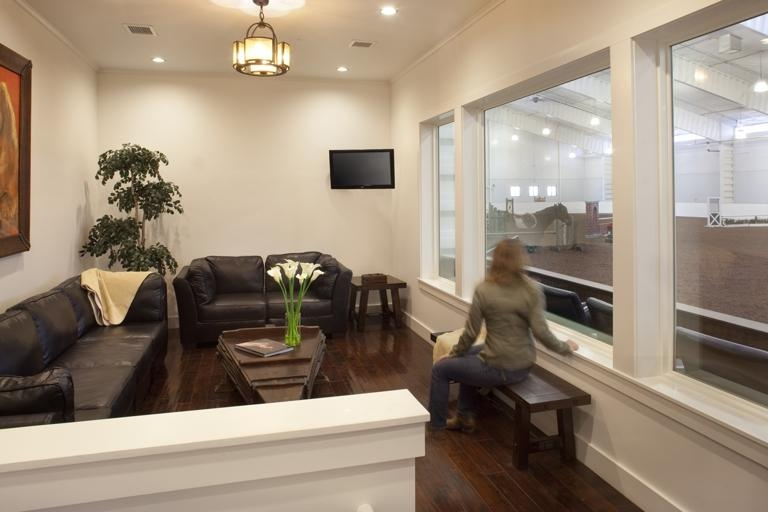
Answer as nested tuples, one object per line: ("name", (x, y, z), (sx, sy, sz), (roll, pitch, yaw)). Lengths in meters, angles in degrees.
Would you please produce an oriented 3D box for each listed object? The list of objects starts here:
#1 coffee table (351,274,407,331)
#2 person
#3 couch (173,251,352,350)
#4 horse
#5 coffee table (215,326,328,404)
("coffee table", (-0.139, 0.680, 7.142), (0.710, 0.679, 0.725), (-1, 6, -13))
("person", (0.921, 0.752, 4.094), (1.010, 1.643, 0.709), (6, 2, 43))
("couch", (-1.653, 0.569, 6.762), (2.279, 1.050, 0.978), (-1, 10, -20))
("horse", (1.333, -0.276, 4.789), (0.879, 0.464, 0.269), (3, 4, 3))
("coffee table", (-0.977, 0.970, 4.443), (0.968, 0.468, 1.605), (-3, 1, -19))
